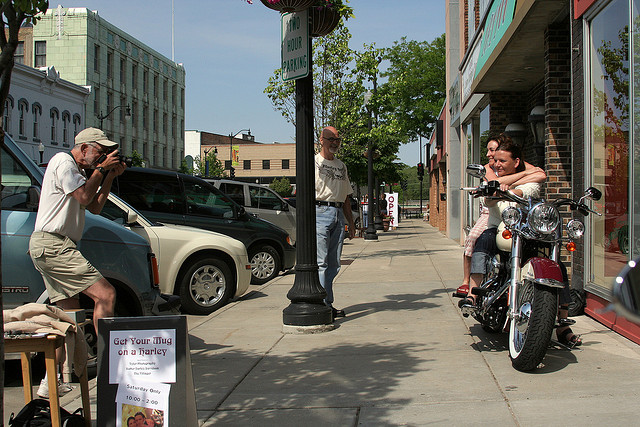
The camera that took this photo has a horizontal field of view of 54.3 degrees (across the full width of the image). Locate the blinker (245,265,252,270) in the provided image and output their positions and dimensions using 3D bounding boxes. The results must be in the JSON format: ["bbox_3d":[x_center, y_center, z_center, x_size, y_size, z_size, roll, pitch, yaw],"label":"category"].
[{"bbox_3d":[-1.188,0.925,10.355,0.054,0.101,0.099,2,4,37],"label":"blinker"}]

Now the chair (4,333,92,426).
[{"bbox_3d":[-2.309,1.435,5.317,0.766,0.755,0.573,-2,-11,1],"label":"chair"}]

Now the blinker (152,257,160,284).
[{"bbox_3d":[-1.984,0.687,7.498,0.055,0.324,0.273,-3,4,-16],"label":"blinker"}]

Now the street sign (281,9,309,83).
[{"bbox_3d":[-0.330,-2.362,8.812,0.258,0.975,0.581,-5,4,-37],"label":"street sign"}]

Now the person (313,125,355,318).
[{"bbox_3d":[0.232,0.122,9.284,0.564,2.845,1.180,-2,4,2],"label":"person"}]

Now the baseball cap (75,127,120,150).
[{"bbox_3d":[-2.296,-0.735,6.405,0.372,0.200,0.234,-3,0,-10],"label":"baseball cap"}]

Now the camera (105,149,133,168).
[{"bbox_3d":[-2.069,-0.556,6.461,0.209,0.203,0.133,10,41,15],"label":"camera"}]

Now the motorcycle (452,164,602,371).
[{"bbox_3d":[2.197,0.546,6.806,1.250,2.137,1.250,-1,4,9],"label":"motorcycle"}]

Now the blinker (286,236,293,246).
[{"bbox_3d":[-0.699,0.643,14.356,0.076,0.280,0.189,-21,14,-33],"label":"blinker"}]

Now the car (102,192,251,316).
[{"bbox_3d":[-2.097,0.796,9.862,2.476,1.480,1.333,-1,0,-18],"label":"car"}]

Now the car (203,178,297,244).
[{"bbox_3d":[-1.799,-0.067,16.741,2.520,1.409,1.487,1,4,-19],"label":"car"}]
